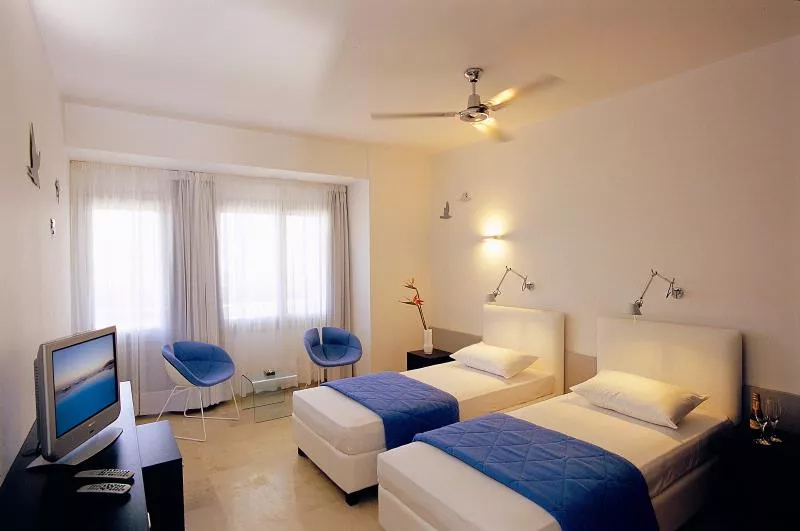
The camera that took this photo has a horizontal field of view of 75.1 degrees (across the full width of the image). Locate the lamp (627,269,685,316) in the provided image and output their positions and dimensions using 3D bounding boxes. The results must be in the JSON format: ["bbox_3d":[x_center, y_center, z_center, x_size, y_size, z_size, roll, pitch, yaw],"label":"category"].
[{"bbox_3d":[2.435,0.227,4.985,0.650,0.397,0.173,-13,24,-21],"label":"lamp"}]

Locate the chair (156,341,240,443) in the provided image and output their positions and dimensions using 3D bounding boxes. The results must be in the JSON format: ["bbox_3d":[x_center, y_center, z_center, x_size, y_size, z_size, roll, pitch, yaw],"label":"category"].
[{"bbox_3d":[-2.337,1.366,5.941,0.730,0.953,0.928,-1,-3,16],"label":"chair"}]

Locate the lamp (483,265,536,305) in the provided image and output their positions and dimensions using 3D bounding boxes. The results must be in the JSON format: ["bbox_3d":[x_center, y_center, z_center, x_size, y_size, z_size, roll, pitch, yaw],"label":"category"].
[{"bbox_3d":[1.348,0.211,6.369,0.170,0.387,0.670,15,-25,-38],"label":"lamp"}]

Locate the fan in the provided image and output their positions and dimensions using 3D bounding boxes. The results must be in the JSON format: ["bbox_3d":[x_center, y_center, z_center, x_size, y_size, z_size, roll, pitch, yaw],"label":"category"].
[{"bbox_3d":[0.603,-1.432,4.594,0.868,0.289,0.902,1,0,-5],"label":"fan"}]

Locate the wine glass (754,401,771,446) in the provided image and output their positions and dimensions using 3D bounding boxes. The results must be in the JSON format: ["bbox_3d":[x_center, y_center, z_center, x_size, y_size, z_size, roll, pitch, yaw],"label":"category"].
[{"bbox_3d":[2.993,1.267,4.317,0.099,0.296,0.106,7,-17,-24],"label":"wine glass"}]

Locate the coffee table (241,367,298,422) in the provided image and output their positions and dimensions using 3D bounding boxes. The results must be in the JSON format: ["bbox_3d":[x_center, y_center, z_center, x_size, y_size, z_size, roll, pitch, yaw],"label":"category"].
[{"bbox_3d":[-1.568,1.572,6.749,0.868,0.646,0.815,-10,-9,-1],"label":"coffee table"}]

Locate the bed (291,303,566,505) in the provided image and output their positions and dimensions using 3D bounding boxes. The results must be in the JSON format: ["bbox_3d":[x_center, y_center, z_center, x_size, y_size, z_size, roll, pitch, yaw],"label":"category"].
[{"bbox_3d":[0.357,1.247,5.767,2.969,1.526,1.498,0,0,-33],"label":"bed"}]

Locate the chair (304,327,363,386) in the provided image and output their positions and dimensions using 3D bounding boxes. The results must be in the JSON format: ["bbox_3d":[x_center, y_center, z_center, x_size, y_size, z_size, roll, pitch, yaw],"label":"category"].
[{"bbox_3d":[-0.893,1.226,6.701,0.730,0.777,0.655,-2,9,-30],"label":"chair"}]

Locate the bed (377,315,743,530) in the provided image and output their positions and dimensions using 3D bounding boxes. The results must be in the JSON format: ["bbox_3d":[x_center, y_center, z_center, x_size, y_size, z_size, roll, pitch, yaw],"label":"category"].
[{"bbox_3d":[1.556,1.393,4.484,2.988,1.554,1.606,-4,4,-40],"label":"bed"}]

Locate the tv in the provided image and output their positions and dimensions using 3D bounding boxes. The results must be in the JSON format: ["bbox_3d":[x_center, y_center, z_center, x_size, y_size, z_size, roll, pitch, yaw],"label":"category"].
[{"bbox_3d":[-2.305,0.962,3.681,0.520,0.895,0.900,-2,-2,-6],"label":"tv"}]
